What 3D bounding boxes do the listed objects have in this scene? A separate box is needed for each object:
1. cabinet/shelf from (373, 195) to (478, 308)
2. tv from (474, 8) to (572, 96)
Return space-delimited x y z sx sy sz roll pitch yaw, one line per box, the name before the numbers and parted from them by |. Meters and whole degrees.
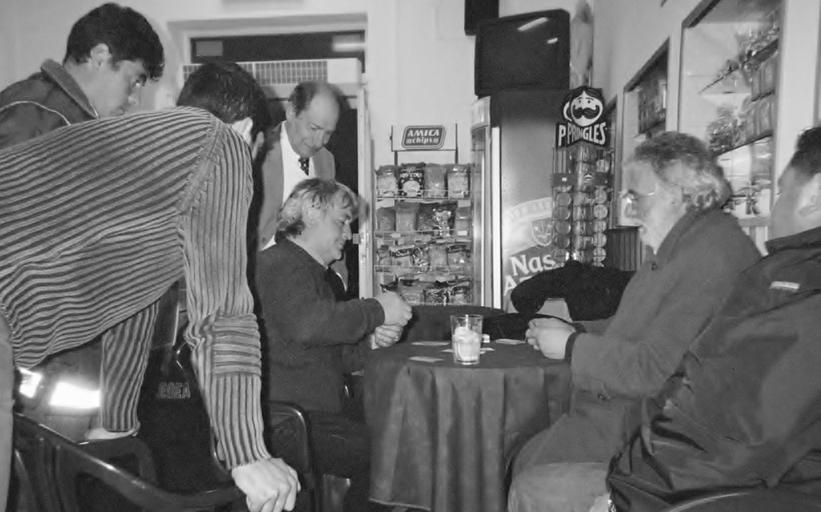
cabinet/shelf | 0.146 -0.048 6.337 0.945 1.275 0.442 1 3 10
tv | 0.807 -1.442 5.547 0.820 0.666 0.442 0 4 22
